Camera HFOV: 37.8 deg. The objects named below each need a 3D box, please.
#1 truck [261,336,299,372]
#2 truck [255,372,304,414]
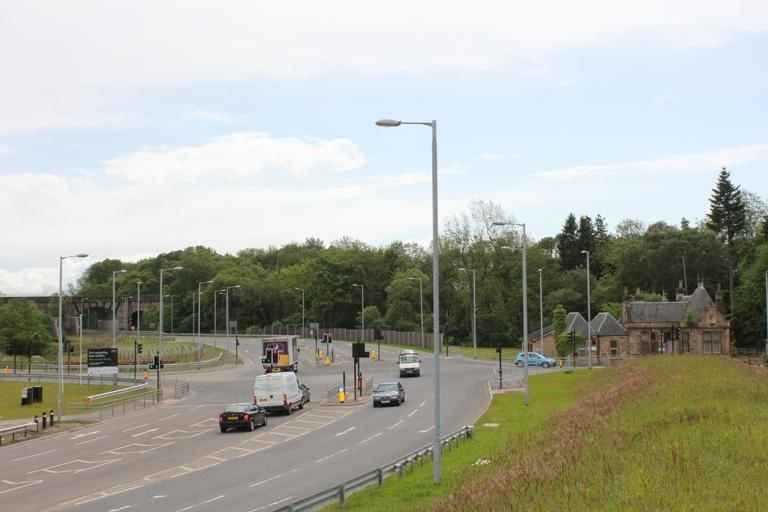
[{"bbox_3d":[-11.662,10.644,121.922,2.996,3.080,5.598,0,-1,6],"label":"truck"},{"bbox_3d":[-9.569,12.321,102.559,3.137,3.415,6.911,-3,-3,7],"label":"truck"}]
